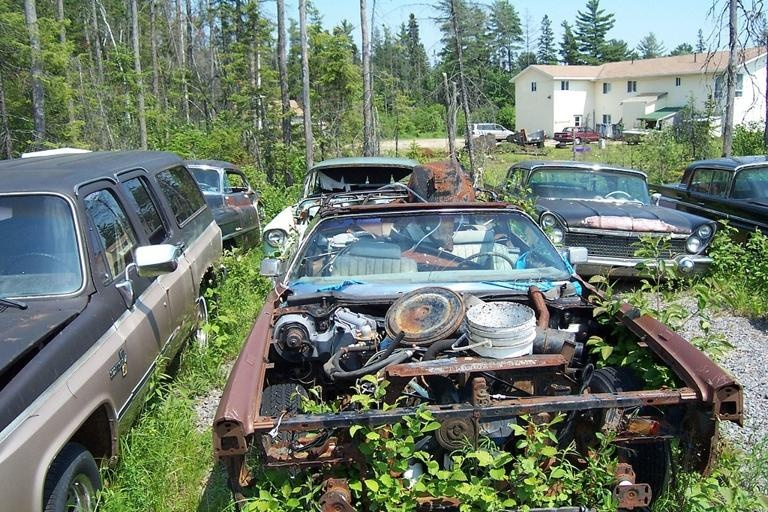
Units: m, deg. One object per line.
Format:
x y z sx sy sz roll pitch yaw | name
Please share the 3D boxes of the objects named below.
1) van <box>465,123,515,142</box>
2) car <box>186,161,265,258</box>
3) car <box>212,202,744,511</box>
8.152 -9.332 42.335 2.442 1.192 3.744 -1 17 2 | van
-3.213 -1.042 10.862 1.250 1.142 2.352 0 11 6 | car
0.483 0.690 4.555 3.314 1.826 2.650 -4 17 -6 | car
